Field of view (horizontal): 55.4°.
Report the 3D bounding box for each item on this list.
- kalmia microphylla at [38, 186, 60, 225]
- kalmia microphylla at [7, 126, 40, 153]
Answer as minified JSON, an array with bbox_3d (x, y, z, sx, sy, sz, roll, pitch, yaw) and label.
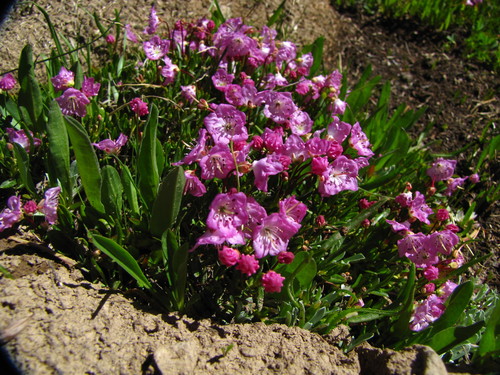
[{"bbox_3d":[-1.282,0.113,3.037,0.119,0.203,0.145,4,37,-24],"label":"kalmia microphylla"},{"bbox_3d":[-1.567,-0.342,3.301,0.216,0.164,0.174,-1,41,-32],"label":"kalmia microphylla"}]
